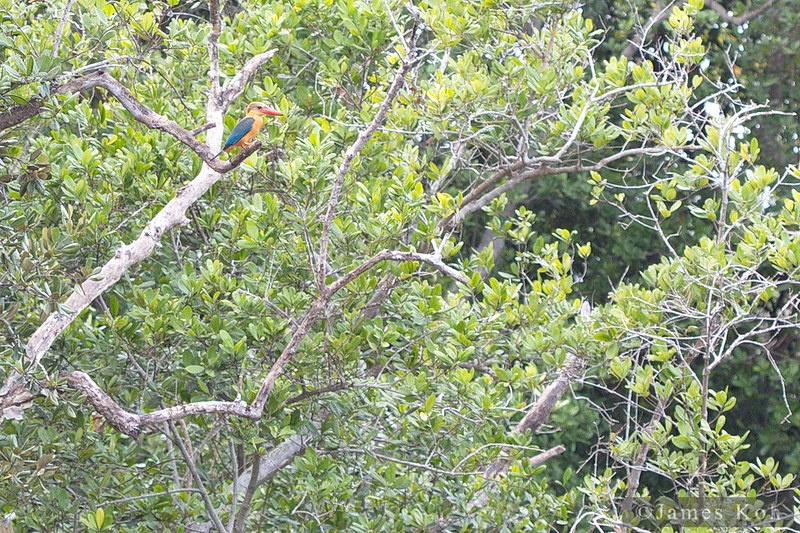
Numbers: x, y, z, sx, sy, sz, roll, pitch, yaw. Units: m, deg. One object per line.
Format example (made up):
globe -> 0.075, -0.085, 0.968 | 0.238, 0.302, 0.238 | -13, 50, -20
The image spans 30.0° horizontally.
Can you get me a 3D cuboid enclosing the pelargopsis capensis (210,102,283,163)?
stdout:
pelargopsis capensis -> -1.412, -1.295, 13.895 | 0.600, 0.204, 0.448 | -4, 87, 11
